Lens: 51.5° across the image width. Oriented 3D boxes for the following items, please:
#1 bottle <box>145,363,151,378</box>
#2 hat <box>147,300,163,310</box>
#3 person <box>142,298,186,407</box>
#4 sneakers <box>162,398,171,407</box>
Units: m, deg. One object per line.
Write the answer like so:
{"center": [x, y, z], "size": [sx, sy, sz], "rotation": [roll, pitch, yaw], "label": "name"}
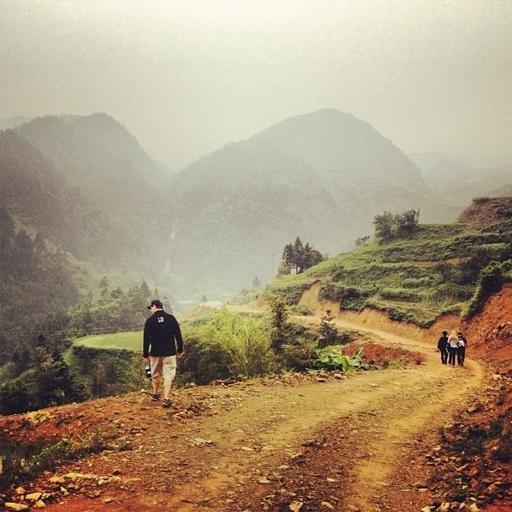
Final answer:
{"center": [-2.653, 2.842, 13.075], "size": [0.115, 0.398, 0.685], "rotation": [-2, -2, -10], "label": "bottle"}
{"center": [-2.538, 1.213, 13.388], "size": [0.297, 0.236, 0.402], "rotation": [7, 1, -37], "label": "hat"}
{"center": [-2.333, 2.397, 13.340], "size": [0.932, 2.617, 1.303], "rotation": [-2, -1, -12], "label": "person"}
{"center": [-2.193, 3.608, 13.062], "size": [0.219, 0.190, 0.234], "rotation": [-2, -1, -9], "label": "sneakers"}
